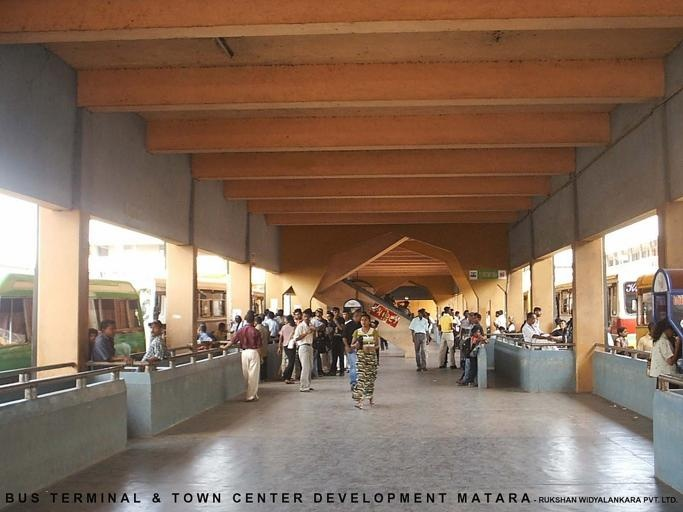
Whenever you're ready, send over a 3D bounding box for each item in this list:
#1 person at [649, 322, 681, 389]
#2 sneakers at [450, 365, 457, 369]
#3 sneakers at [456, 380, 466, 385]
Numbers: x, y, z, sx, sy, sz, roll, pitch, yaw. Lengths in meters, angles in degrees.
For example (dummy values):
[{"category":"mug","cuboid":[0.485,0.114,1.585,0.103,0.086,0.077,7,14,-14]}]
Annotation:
[{"category":"person","cuboid":[4.438,1.283,7.821,0.358,0.803,0.353,-1,-7,19]},{"category":"sneakers","cuboid":[3.698,3.746,18.797,0.158,0.094,0.112,-4,21,8]},{"category":"sneakers","cuboid":[3.058,3.280,14.519,0.168,0.114,0.308,0,-6,4]}]
